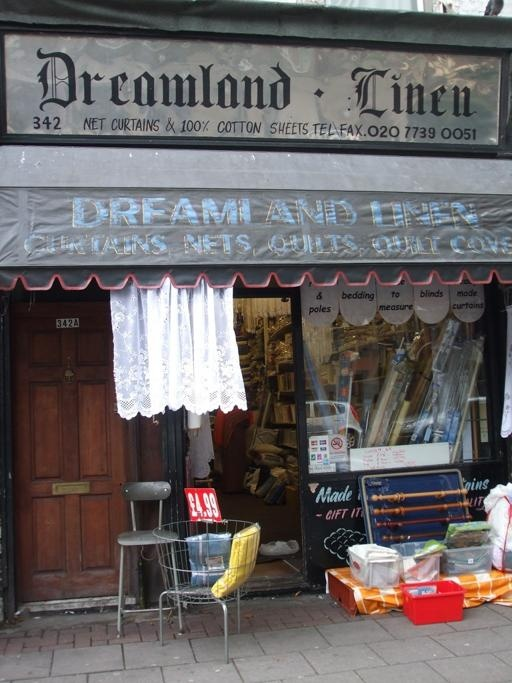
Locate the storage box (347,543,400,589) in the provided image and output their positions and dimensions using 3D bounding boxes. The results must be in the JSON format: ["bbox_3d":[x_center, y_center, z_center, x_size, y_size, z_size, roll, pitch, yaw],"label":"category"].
[{"bbox_3d":[0.911,1.738,5.585,0.303,0.252,0.434,1,-5,-13],"label":"storage box"}]

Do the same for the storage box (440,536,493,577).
[{"bbox_3d":[1.642,1.692,5.615,0.272,0.160,0.265,-2,-10,4],"label":"storage box"}]

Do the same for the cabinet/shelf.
[{"bbox_3d":[1.095,0.863,6.843,2.307,1.565,1.219,3,-7,-17],"label":"cabinet/shelf"}]

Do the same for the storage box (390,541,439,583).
[{"bbox_3d":[1.231,1.722,5.592,0.352,0.210,0.260,-2,-7,11],"label":"storage box"}]

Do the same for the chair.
[{"bbox_3d":[-0.831,1.579,5.374,0.517,0.893,0.480,-3,6,-29],"label":"chair"}]

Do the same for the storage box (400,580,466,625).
[{"bbox_3d":[1.301,1.928,5.305,0.447,0.200,0.305,-1,-1,-10],"label":"storage box"}]
